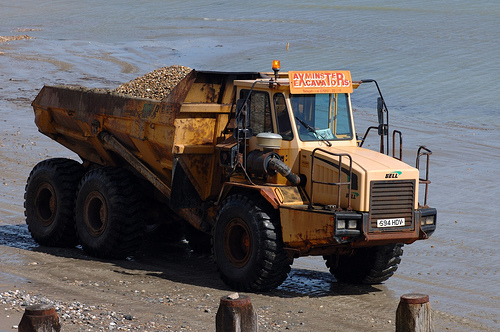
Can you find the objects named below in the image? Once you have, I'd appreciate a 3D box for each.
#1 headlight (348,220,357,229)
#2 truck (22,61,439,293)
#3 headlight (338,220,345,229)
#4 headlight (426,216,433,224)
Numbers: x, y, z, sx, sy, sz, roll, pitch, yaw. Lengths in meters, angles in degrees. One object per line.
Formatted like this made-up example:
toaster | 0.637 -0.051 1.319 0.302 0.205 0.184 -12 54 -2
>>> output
headlight | 1.756 0.999 15.311 0.208 0.162 0.131 2 10 -2
truck | -0.565 -0.031 17.944 8.431 3.530 4.285 6 7 42
headlight | 1.574 0.998 15.187 0.187 0.148 0.089 -1 1 -25
headlight | 3.247 0.964 15.865 0.165 0.144 0.045 -13 19 -41
